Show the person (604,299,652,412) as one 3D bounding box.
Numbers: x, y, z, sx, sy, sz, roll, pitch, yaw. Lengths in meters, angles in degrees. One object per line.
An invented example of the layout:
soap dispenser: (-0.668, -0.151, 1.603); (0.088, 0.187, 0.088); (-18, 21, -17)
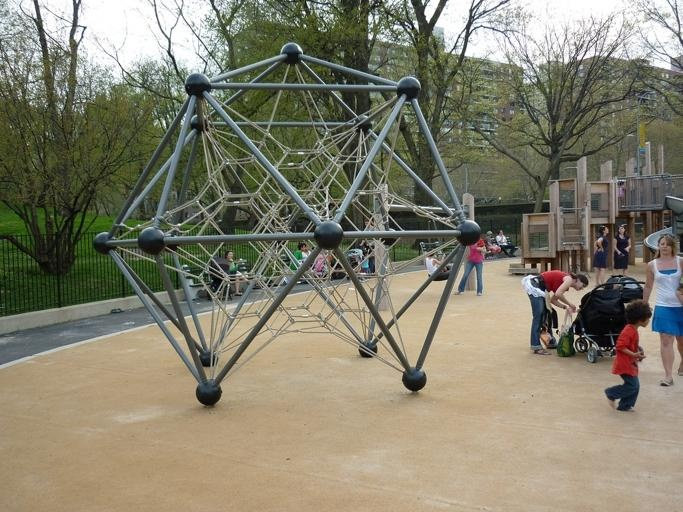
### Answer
person: (3.683, 1.256, 8.247); (0.454, 1.360, 0.571); (3, 8, 31)

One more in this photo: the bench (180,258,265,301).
bench: (-3.336, 0.683, 18.045); (0.850, 1.158, 2.598); (1, 3, 28)

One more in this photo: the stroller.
stroller: (4.276, 0.943, 10.314); (0.850, 1.409, 1.448); (0, 11, -2)

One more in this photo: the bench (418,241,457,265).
bench: (2.563, -0.117, 17.325); (0.794, 0.494, 1.234); (1, 13, 15)

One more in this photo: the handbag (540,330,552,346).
handbag: (3.513, 1.399, 11.053); (0.189, 0.182, 0.107); (42, 24, 21)

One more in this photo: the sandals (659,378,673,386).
sandals: (4.598, 1.762, 9.066); (0.237, 0.108, 0.080); (3, -7, -32)

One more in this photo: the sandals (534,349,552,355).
sandals: (3.421, 1.616, 10.919); (0.280, 0.128, 0.099); (-11, -10, 43)
